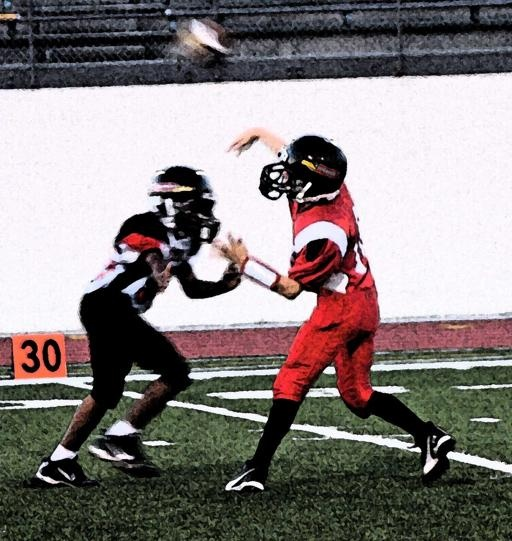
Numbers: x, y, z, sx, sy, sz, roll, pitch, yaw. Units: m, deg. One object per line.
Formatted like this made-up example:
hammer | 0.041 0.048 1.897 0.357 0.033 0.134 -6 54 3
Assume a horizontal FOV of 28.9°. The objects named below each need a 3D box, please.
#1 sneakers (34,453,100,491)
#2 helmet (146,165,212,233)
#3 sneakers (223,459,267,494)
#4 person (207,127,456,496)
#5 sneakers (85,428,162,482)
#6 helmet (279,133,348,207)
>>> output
sneakers | -0.860 0.919 4.413 0.326 0.136 0.109 3 -1 -8
helmet | -0.346 -0.381 4.655 0.337 0.312 0.239 -5 2 -4
sneakers | -0.034 0.911 4.284 0.082 0.103 0.240 4 -2 33
person | 0.347 0.196 4.736 1.156 1.527 0.847 8 -2 -5
sneakers | -0.616 0.870 4.688 0.306 0.137 0.185 20 14 -4
helmet | 0.249 -0.506 4.659 0.339 0.297 0.262 1 8 -8
